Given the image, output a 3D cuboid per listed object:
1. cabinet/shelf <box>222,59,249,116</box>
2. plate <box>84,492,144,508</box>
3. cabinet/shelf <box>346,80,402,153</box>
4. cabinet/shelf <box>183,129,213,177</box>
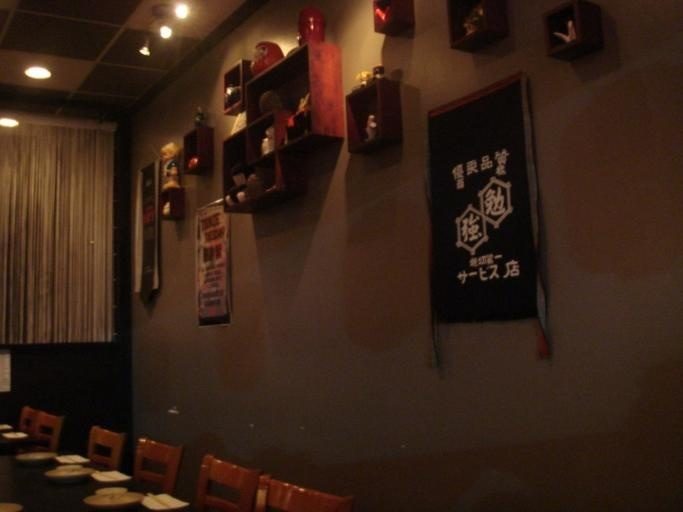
[{"bbox_3d":[-0.843,-1.340,4.433,0.157,0.477,0.508,4,-13,-21],"label":"cabinet/shelf"},{"bbox_3d":[-1.069,1.137,2.588,0.267,0.036,0.217,0,-11,-8],"label":"plate"},{"bbox_3d":[0.203,-0.849,3.377,0.222,0.444,0.418,-1,-1,-33],"label":"cabinet/shelf"},{"bbox_3d":[-1.300,-0.941,5.028,0.142,0.342,0.331,5,-16,-28],"label":"cabinet/shelf"}]
